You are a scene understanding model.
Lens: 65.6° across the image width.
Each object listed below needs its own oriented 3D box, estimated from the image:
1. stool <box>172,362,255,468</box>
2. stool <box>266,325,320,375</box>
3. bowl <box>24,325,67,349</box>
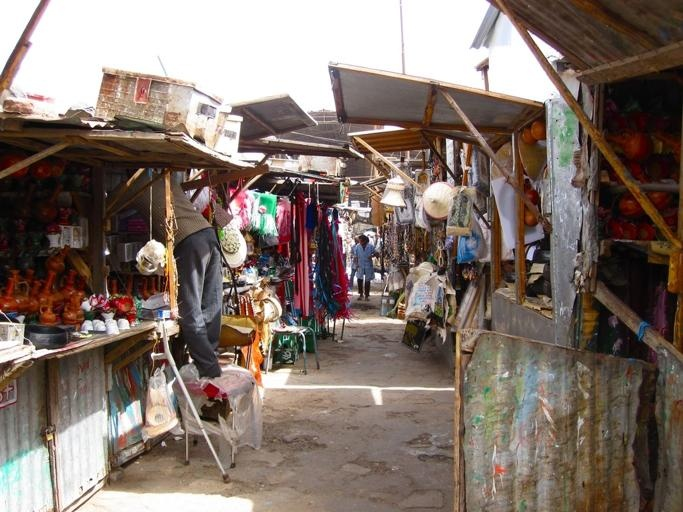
[{"bbox_3d":[-1.232,1.513,5.366,0.826,1.054,0.824,-1,-2,-1],"label":"stool"},{"bbox_3d":[-0.787,1.372,8.613,0.838,0.842,0.658,1,-11,-6],"label":"stool"},{"bbox_3d":[-2.059,0.550,3.693,0.249,0.162,0.212,-2,3,-33],"label":"bowl"}]
